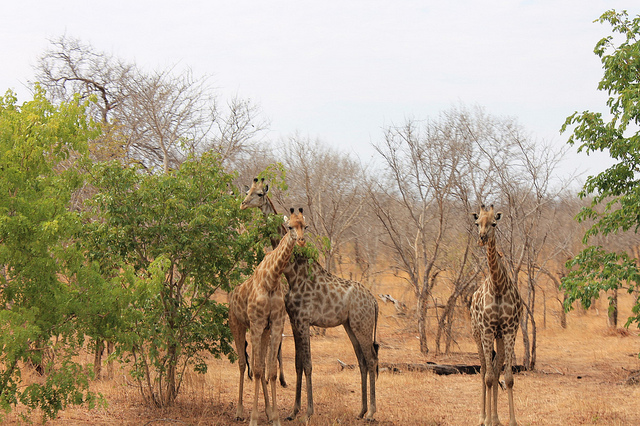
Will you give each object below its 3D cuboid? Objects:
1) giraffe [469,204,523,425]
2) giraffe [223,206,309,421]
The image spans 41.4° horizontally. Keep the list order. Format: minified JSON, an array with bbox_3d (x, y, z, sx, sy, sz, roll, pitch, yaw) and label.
[{"bbox_3d":[4.566,2.716,22.398,1.187,5.671,1.920,-2,-9,11],"label":"giraffe"},{"bbox_3d":[-1.524,2.806,22.966,1.927,5.527,3.979,0,-9,-7],"label":"giraffe"}]
